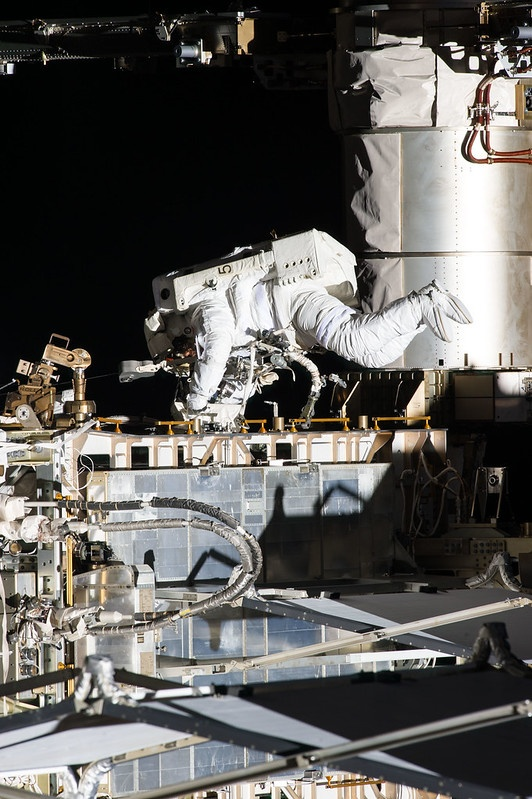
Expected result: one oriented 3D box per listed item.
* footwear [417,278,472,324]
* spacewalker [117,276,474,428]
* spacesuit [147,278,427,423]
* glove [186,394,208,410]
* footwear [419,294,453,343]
[{"bbox_3d":[1.692,-0.877,14.933,0.497,0.307,0.163,46,11,2],"label":"footwear"},{"bbox_3d":[0.371,-0.557,15.890,3.362,1.490,1.904,-4,2,19],"label":"spacewalker"},{"bbox_3d":[0.363,-0.390,15.486,1.918,0.823,1.314,-6,20,23],"label":"spacesuit"},{"bbox_3d":[-0.660,0.029,15.428,0.206,0.190,0.196,-1,8,3],"label":"glove"},{"bbox_3d":[1.581,-0.688,14.805,0.247,0.401,0.087,3,-27,42],"label":"footwear"}]
